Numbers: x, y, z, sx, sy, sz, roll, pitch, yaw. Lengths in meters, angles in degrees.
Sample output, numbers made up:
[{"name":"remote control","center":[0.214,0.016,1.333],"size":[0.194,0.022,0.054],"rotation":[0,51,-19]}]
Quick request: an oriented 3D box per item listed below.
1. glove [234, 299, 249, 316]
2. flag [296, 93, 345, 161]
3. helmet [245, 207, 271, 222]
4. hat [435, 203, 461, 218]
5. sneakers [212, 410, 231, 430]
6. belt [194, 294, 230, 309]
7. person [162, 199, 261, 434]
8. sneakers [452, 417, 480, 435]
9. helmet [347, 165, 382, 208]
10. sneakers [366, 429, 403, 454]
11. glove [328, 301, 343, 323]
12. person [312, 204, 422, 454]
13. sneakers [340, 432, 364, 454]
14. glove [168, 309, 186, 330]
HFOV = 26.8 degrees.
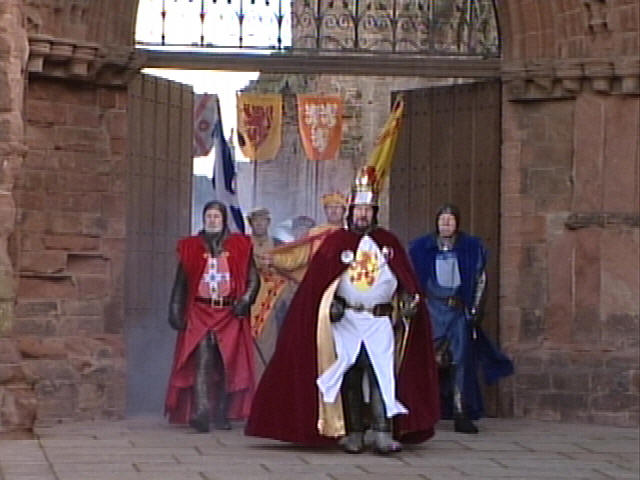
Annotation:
[{"name":"glove","center":[-0.759,0.679,13.106],"size":[0.071,0.185,0.089],"rotation":[14,2,-34]},{"name":"flag","center":[0.006,-1.365,16.118],"size":[0.508,0.779,0.411],"rotation":[-1,-1,-2]},{"name":"helmet","center":[-0.735,-0.300,16.074],"size":[0.351,0.140,0.374],"rotation":[0,-3,-7]},{"name":"hat","center":[1.259,-0.287,13.136],"size":[0.146,0.130,0.155],"rotation":[2,-11,-5]},{"name":"sneakers","center":[-0.912,1.794,13.220],"size":[0.222,0.239,0.112],"rotation":[-2,-14,18]},{"name":"belt","center":[-1.037,0.609,13.118],"size":[0.360,0.109,0.040],"rotation":[-1,-1,-6]},{"name":"person","center":[-1.051,0.749,13.103],"size":[0.917,2.233,0.506],"rotation":[-1,-1,-8]},{"name":"sneakers","center":[1.420,1.825,13.078],"size":[0.223,0.164,0.124],"rotation":[-5,-4,16]},{"name":"helmet","center":[0.446,-0.479,12.346],"size":[0.282,0.431,0.263],"rotation":[-2,-11,30]},{"name":"sneakers","center":[0.546,1.839,12.124],"size":[0.144,0.177,0.403],"rotation":[3,-10,-31]},{"name":"glove","center":[0.151,0.661,12.241],"size":[0.127,0.186,0.154],"rotation":[1,-16,-3]},{"name":"person","center":[0.399,0.788,12.122],"size":[0.761,2.249,0.451],"rotation":[-1,-1,4]},{"name":"sneakers","center":[0.296,1.838,12.060],"size":[0.153,0.176,0.423],"rotation":[1,-4,1]},{"name":"glove","center":[-1.396,0.793,13.105],"size":[0.153,0.177,0.108],"rotation":[-1,-1,-8]}]
